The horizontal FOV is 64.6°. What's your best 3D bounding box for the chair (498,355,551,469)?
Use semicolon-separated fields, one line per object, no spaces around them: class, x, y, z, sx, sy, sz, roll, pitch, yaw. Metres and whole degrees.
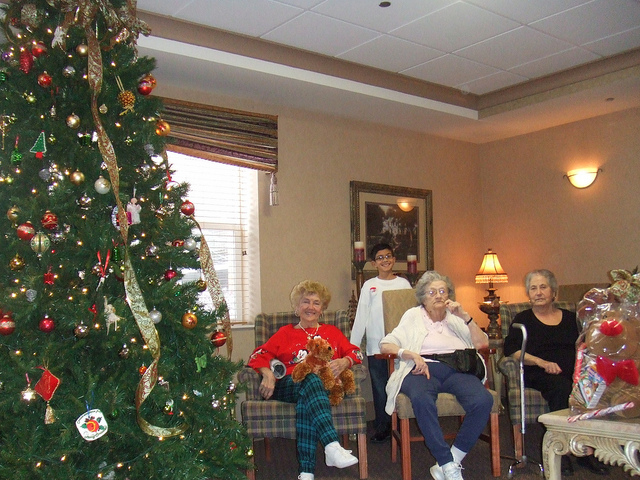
chair;1.472;1.242;3.693;0.327;0.756;0.402;-8;-9;42

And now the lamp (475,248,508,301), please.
lamp;2.092;0.398;6.119;0.374;0.655;0.717;-4;-7;18

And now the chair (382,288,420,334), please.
chair;0.632;0.566;4.122;0.288;0.535;0.313;0;-10;-7

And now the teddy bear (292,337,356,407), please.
teddy bear;0.137;0.893;3.586;0.167;0.361;0.474;-32;-34;12

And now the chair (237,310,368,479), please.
chair;-0.159;1.053;3.875;1.138;1.475;1.109;1;-16;-4
